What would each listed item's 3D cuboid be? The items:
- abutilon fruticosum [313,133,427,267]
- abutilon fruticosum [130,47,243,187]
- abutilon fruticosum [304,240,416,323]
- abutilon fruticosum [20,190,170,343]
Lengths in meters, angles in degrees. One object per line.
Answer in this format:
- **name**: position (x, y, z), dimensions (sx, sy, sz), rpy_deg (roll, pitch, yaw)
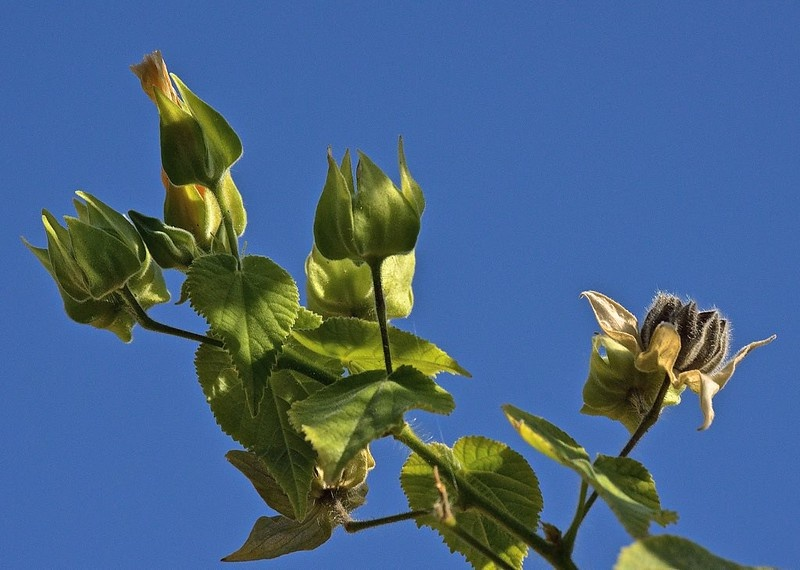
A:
- **abutilon fruticosum**: position (-0.050, -0.100, 2.076), dimensions (0.128, 0.181, 0.135), rpy_deg (0, 7, 19)
- **abutilon fruticosum**: position (-0.265, -0.198, 2.237), dimensions (0.122, 0.174, 0.125), rpy_deg (11, -24, -28)
- **abutilon fruticosum**: position (-0.060, -0.012, 2.285), dimensions (0.104, 0.079, 0.096), rpy_deg (2, 7, 15)
- **abutilon fruticosum**: position (-0.359, -0.033, 2.232), dimensions (0.177, 0.160, 0.165), rpy_deg (6, -23, -18)
